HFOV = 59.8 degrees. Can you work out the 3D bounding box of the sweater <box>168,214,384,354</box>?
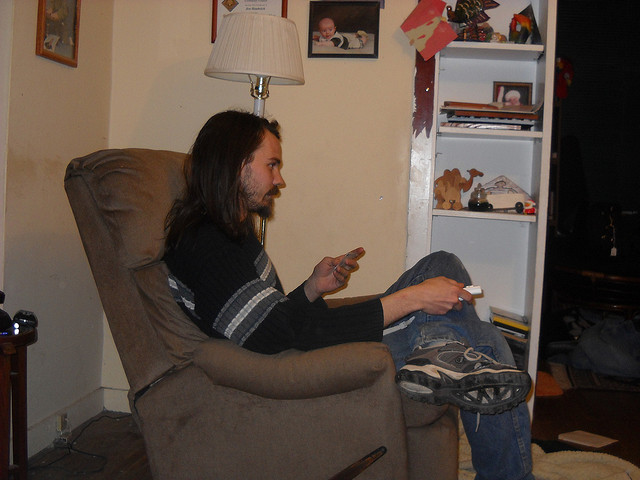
[{"bbox_3d":[-0.151,0.107,1.917,0.588,0.260,0.459,21,11,-5],"label":"sweater"}]
